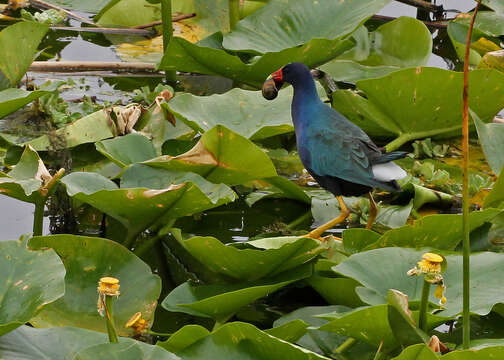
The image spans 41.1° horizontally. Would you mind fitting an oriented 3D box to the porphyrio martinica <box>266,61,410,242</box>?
[{"bbox_3d":[0.354,-0.154,2.914,0.429,0.694,0.611,-7,17,-11],"label":"porphyrio martinica"}]
